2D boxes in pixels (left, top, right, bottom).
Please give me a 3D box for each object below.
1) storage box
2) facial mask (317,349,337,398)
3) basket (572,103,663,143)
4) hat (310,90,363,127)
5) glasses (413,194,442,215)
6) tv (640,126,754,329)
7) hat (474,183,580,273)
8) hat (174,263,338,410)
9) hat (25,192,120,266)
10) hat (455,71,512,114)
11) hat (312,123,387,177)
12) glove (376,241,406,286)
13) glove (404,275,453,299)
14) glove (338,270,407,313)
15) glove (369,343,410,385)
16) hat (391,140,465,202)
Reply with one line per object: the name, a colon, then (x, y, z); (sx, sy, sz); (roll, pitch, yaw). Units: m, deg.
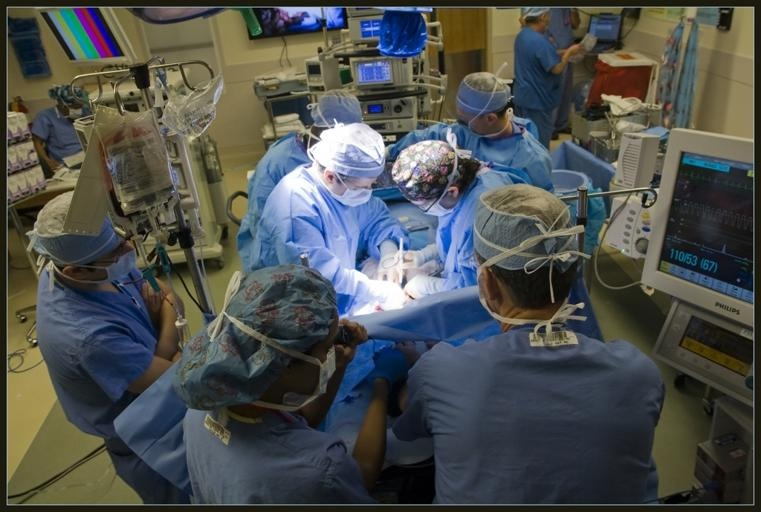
storage box: (2.125, -1.554, 4.834); (0.367, 0.425, 0.348); (1, 35, 19)
facial mask: (-0.156, 0.377, 1.774); (0.037, 0.126, 0.118); (21, -32, -31)
basket: (1.612, -0.949, 3.873); (0.400, 0.143, 0.392); (-20, 21, -23)
hat: (-0.237, -0.829, 3.132); (0.340, 0.169, 0.438); (-1, 27, -1)
glasses: (0.215, -0.221, 2.513); (0.078, 0.085, 0.049); (7, 59, 47)
tv: (1.227, -0.124, 2.069); (0.173, 0.631, 0.406); (-26, 33, -35)
hat: (0.463, -0.083, 1.843); (0.243, 0.170, 0.319); (-3, 25, -1)
hat: (-0.357, 0.323, 1.773); (0.384, 0.211, 0.473); (32, 70, 29)
hat: (-1.141, -0.093, 2.070); (0.343, 0.249, 0.222); (11, 31, 31)
hat: (0.571, -0.913, 3.152); (0.282, 0.211, 0.215); (-1, 47, 1)
hat: (-0.158, -0.509, 2.646); (0.246, 0.145, 0.309); (-31, 44, -30)
glove: (0.050, 0.038, 2.769); (0.100, 0.195, 0.168); (3, 17, -33)
glove: (0.202, 0.110, 2.566); (0.213, 0.120, 0.144); (-11, 12, 6)
glove: (-0.040, 0.185, 2.597); (0.250, 0.109, 0.215); (-4, 47, 2)
glove: (0.039, 0.403, 2.095); (0.106, 0.043, 0.127); (0, 31, 1)
hat: (0.183, -0.347, 2.522); (0.238, 0.223, 0.298); (10, -18, -41)
